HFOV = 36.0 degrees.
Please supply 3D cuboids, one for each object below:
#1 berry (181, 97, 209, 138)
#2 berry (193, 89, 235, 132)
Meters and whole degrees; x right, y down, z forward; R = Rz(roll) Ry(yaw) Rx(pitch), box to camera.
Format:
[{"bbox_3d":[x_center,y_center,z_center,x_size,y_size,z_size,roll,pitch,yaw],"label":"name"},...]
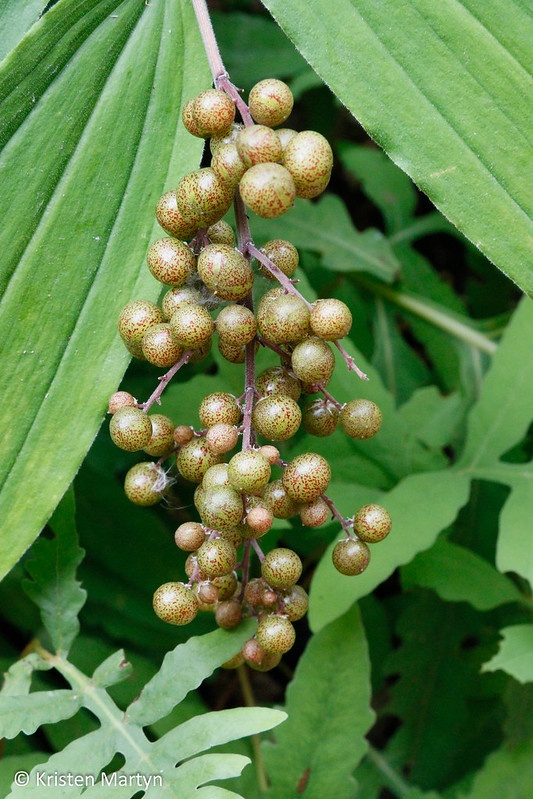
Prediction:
[{"bbox_3d":[-0.038,-0.141,0.422,0.009,0.023,0.022,-10,74,12],"label":"berry"},{"bbox_3d":[-0.027,-0.141,0.406,0.020,0.021,0.019,-5,58,-4],"label":"berry"}]
